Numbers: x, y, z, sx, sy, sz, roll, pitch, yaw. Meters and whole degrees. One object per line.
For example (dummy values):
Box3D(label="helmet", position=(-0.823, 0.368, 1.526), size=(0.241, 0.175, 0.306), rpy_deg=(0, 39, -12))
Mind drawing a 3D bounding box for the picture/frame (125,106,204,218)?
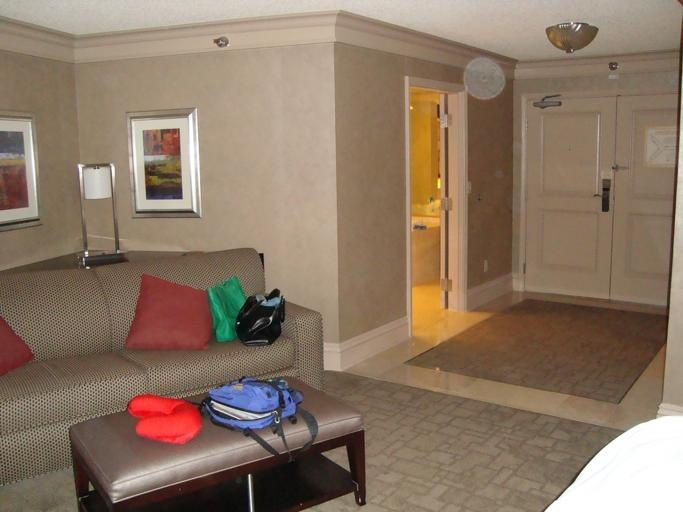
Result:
Box3D(label="picture/frame", position=(-1.608, -0.899, 4.930), size=(1.006, 1.209, 0.086), rpy_deg=(3, 13, 19))

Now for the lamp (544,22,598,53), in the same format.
Box3D(label="lamp", position=(1.963, -1.902, 4.636), size=(0.439, 0.208, 0.338), rpy_deg=(0, 12, 4))

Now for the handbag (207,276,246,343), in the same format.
Box3D(label="handbag", position=(-0.800, 0.367, 3.710), size=(0.111, 0.367, 0.291), rpy_deg=(-22, -17, 37))

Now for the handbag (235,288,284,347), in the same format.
Box3D(label="handbag", position=(-0.538, 0.422, 3.621), size=(0.253, 0.351, 0.143), rpy_deg=(16, -6, 5))

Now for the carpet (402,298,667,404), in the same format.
Box3D(label="carpet", position=(2.219, 0.794, 5.495), size=(1.746, 0.017, 3.234), rpy_deg=(4, 9, 35))
